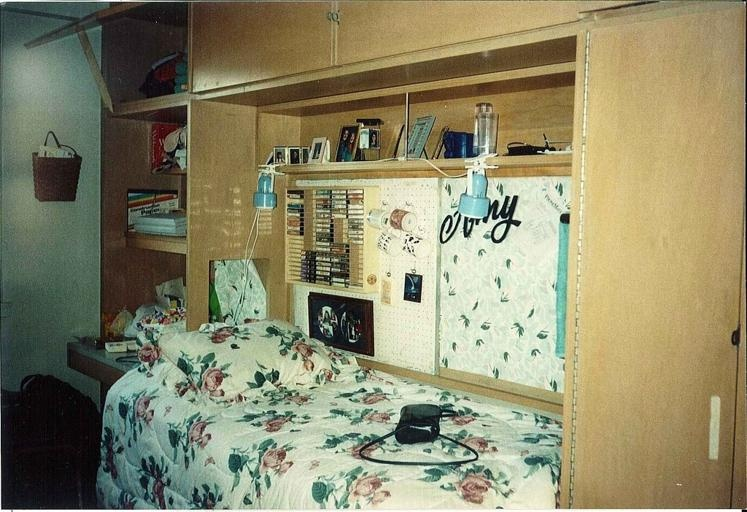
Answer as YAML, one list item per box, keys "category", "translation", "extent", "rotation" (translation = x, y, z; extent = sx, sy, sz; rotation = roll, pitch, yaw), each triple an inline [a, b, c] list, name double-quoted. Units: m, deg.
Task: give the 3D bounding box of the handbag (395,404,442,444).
- category: "handbag"
  translation: [0.194, 0.736, 2.645]
  extent: [0.199, 0.135, 0.158]
  rotation: [3, 3, 2]

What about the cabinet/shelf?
- category: "cabinet/shelf"
  translation: [0.040, -0.003, 2.919]
  extent: [0.564, 1.527, 3.243]
  rotation: [1, 4, -43]

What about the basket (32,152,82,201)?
- category: "basket"
  translation: [-2.062, -0.498, 3.953]
  extent: [0.288, 0.392, 0.343]
  rotation: [7, 6, 42]
